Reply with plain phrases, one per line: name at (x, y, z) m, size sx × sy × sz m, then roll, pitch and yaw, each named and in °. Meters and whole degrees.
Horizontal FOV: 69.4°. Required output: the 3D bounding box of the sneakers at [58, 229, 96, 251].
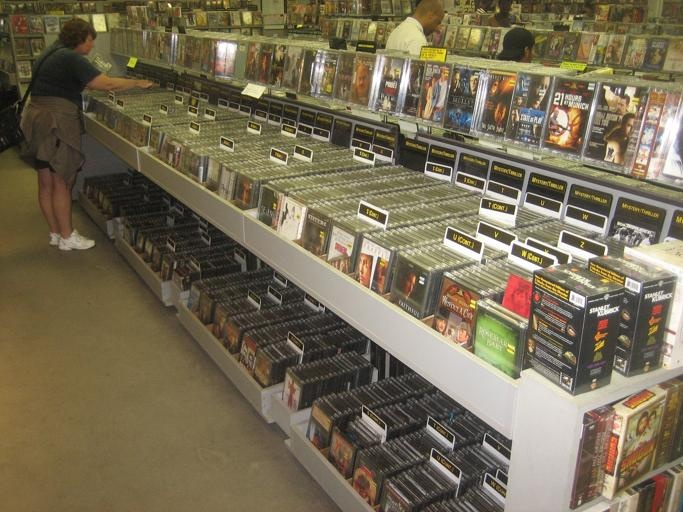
sneakers at (-2.672, -0.186, 4.992) m, size 0.318 × 0.165 × 0.179 m, roll -5°, pitch 27°, yaw -17°
